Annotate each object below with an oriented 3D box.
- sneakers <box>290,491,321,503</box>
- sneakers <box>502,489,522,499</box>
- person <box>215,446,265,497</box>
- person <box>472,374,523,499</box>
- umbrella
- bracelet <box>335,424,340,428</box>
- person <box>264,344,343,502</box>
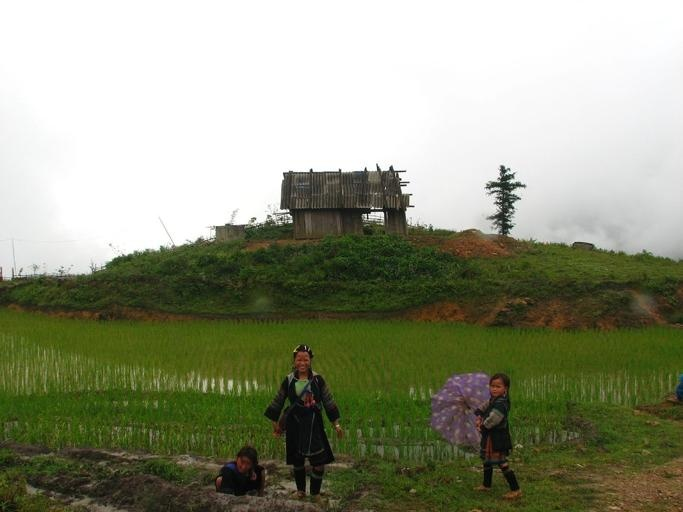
[{"bbox_3d":[-0.601,4.200,12.048,0.552,0.258,0.199,-8,-8,21],"label":"sneakers"},{"bbox_3d":[2.990,4.162,12.062,0.266,0.127,0.140,-1,-6,2],"label":"sneakers"},{"bbox_3d":[-1.705,3.726,12.005,0.823,0.994,0.762,10,-2,-33],"label":"person"},{"bbox_3d":[2.757,3.118,12.132,0.831,2.078,0.506,4,11,19],"label":"person"},{"bbox_3d":[2.239,2.784,13.013,1.147,1.295,1.052,-1,-4,12],"label":"umbrella"},{"bbox_3d":[-0.065,2.974,12.033,0.080,0.065,0.082,3,-8,-27],"label":"bracelet"},{"bbox_3d":[-0.637,2.898,12.040,1.188,2.612,0.602,0,10,-2],"label":"person"}]
